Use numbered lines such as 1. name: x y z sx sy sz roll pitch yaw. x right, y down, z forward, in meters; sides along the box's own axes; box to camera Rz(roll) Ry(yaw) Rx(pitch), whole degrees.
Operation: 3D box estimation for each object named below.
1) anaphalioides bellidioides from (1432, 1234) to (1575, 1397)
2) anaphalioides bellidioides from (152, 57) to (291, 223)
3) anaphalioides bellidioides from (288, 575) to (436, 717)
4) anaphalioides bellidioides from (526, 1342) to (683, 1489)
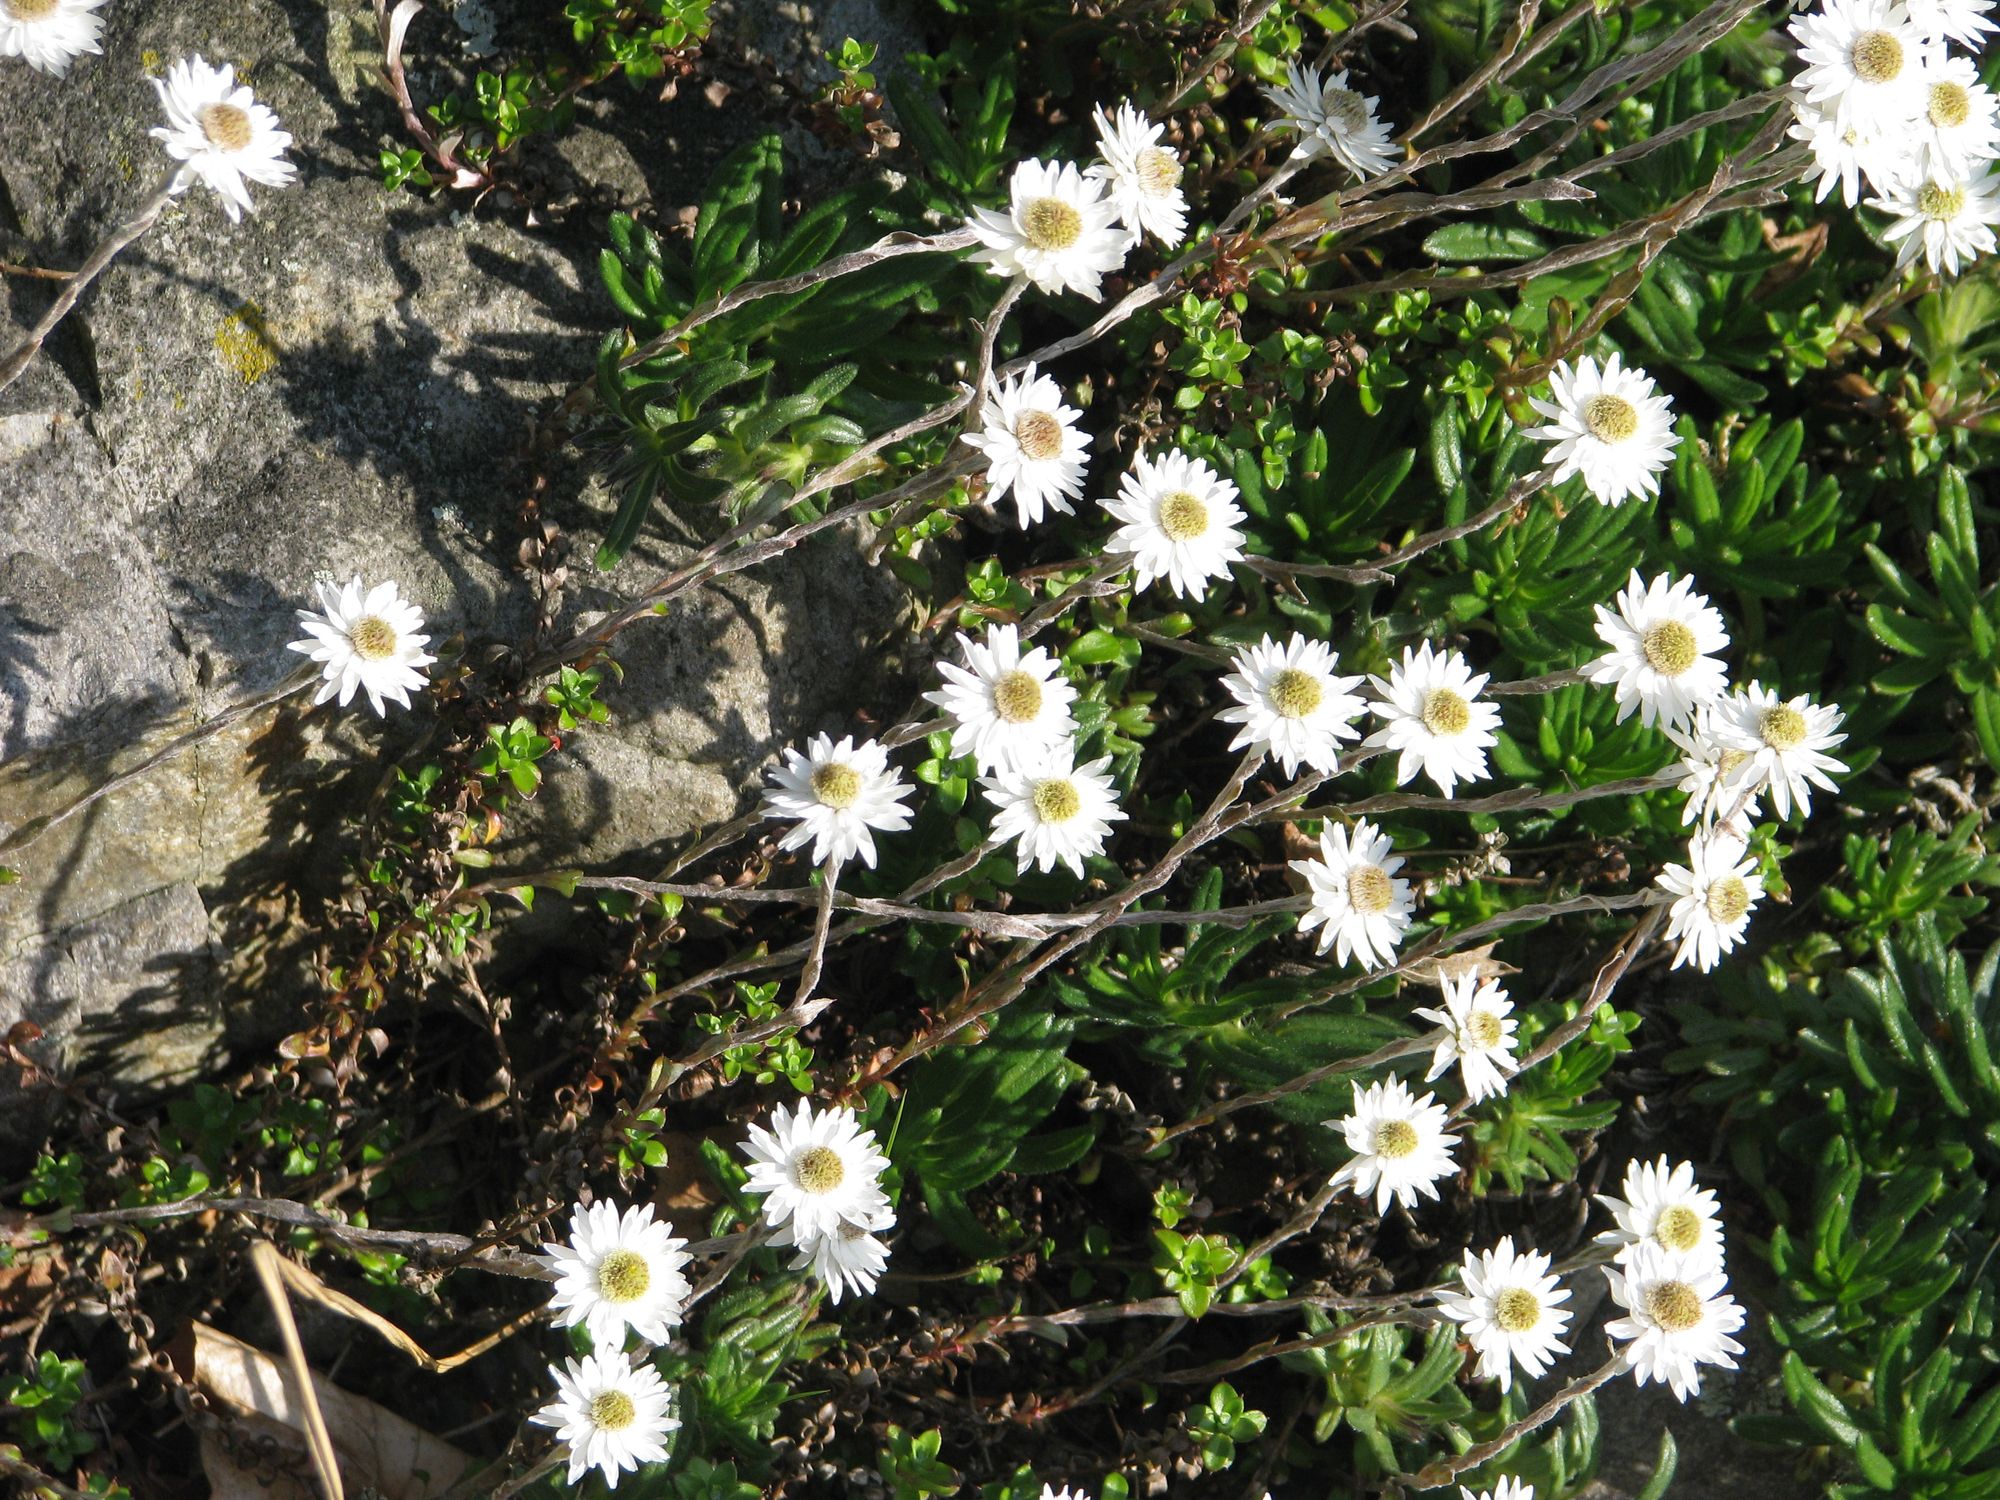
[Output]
1. anaphalioides bellidioides: 0.997 1.078 4.128 0.236 0.114 0.258 3 -5 -40
2. anaphalioides bellidioides: -1.425 -1.111 3.926 0.230 0.263 0.270 5 12 -23
3. anaphalioides bellidioides: -1.189 -0.194 3.998 0.238 0.249 0.225 13 12 18
4. anaphalioides bellidioides: -0.718 1.203 3.879 0.242 0.257 0.137 9 11 -1
